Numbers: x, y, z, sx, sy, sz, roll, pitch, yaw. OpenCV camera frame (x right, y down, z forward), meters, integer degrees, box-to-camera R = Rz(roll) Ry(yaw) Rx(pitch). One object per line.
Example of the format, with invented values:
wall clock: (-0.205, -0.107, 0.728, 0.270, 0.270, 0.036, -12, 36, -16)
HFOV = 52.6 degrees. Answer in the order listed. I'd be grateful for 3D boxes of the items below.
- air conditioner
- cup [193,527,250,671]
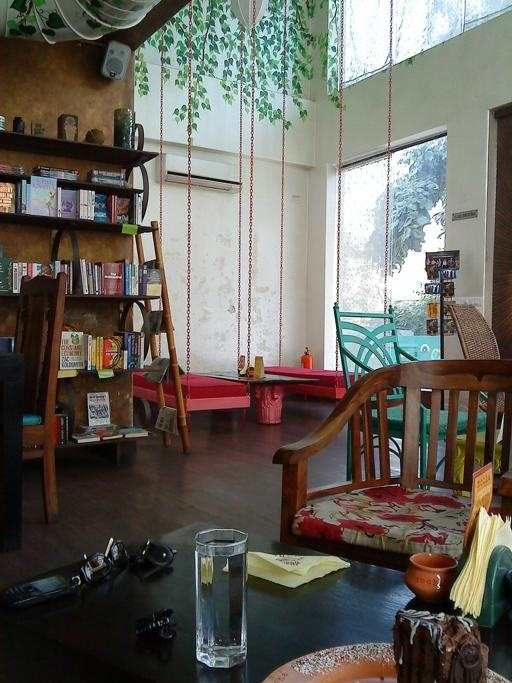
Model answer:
air conditioner: (-0.752, -2.367, 7.251, 1.186, 0.461, 0.231, 1, -9, -27)
cup: (-0.043, 0.311, 0.638, 0.072, 0.144, 0.090, 0, 1, 0)
